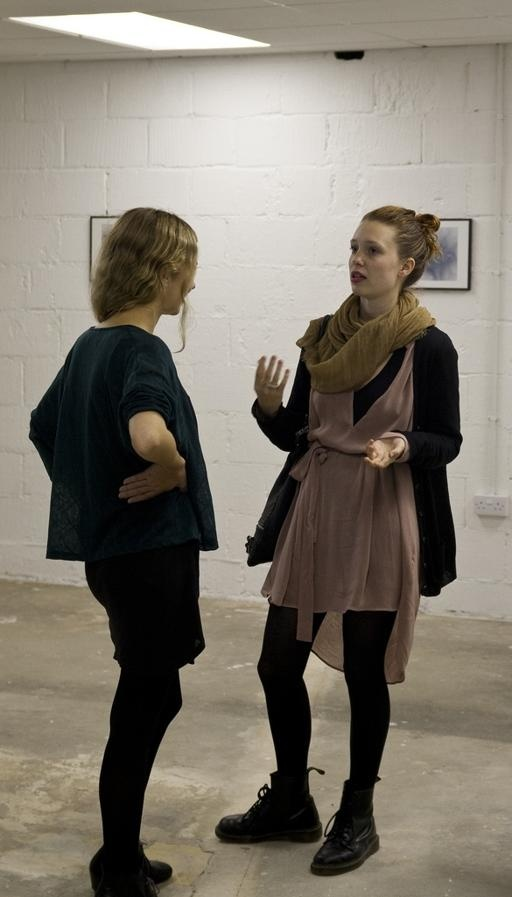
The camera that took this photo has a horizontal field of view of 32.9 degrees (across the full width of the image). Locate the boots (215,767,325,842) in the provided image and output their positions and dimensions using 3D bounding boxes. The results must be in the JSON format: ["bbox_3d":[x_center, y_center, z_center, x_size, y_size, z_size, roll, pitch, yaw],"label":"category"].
[{"bbox_3d":[0.063,0.853,2.117,0.325,0.199,0.127,1,-1,5],"label":"boots"}]

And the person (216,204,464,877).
[{"bbox_3d":[0.213,0.188,2.017,0.500,1.513,0.419,4,5,44],"label":"person"}]

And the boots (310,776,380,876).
[{"bbox_3d":[0.205,0.858,1.963,0.092,0.160,0.239,-4,-2,35],"label":"boots"}]
